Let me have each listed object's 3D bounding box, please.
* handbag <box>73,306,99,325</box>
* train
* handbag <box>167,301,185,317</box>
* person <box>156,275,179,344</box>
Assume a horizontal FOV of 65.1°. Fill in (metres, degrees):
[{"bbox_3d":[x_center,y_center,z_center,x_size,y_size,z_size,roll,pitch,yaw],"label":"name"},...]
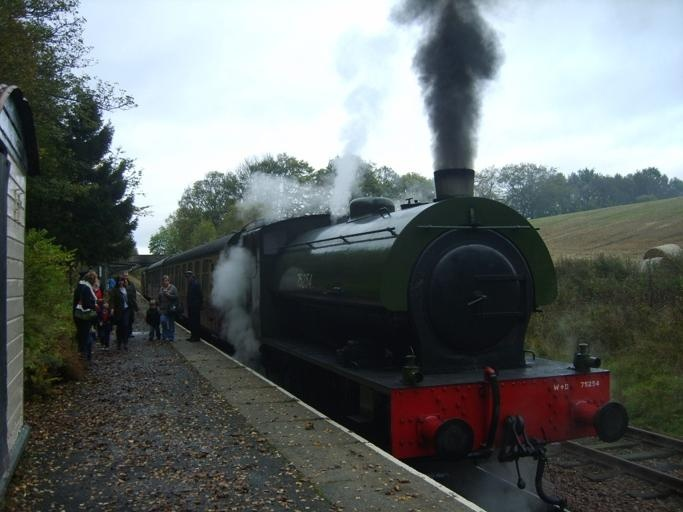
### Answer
[{"bbox_3d":[-5.424,1.203,11.302,0.372,0.394,0.309,-1,7,-3],"label":"handbag"},{"bbox_3d":[-0.247,0.808,11.312,2.783,4.101,11.694,0,1,-23],"label":"train"},{"bbox_3d":[-4.519,1.406,14.399,0.334,0.469,0.483,-4,5,-11],"label":"handbag"},{"bbox_3d":[-4.757,1.417,14.427,0.596,1.767,0.573,-3,-2,26],"label":"person"}]
